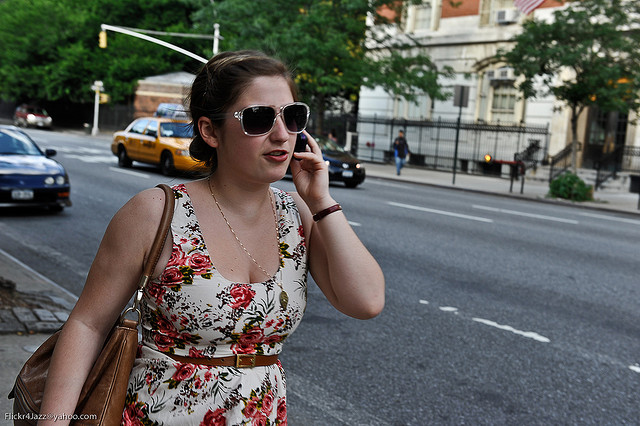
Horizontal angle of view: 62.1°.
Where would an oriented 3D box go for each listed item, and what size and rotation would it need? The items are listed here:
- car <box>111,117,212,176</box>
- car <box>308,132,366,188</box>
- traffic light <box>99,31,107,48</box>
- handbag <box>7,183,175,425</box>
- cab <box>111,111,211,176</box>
[{"bbox_3d":[-6.342,-2.693,21.751,5.289,1.898,2.183,13,7,39],"label":"car"},{"bbox_3d":[0.523,-2.098,21.018,1.301,1.141,2.922,2,5,-20],"label":"car"},{"bbox_3d":[-13.981,-11.222,34.320,0.303,0.922,0.979,-3,11,-27],"label":"traffic light"},{"bbox_3d":[-0.954,0.399,2.216,0.689,0.985,0.378,-1,10,-17],"label":"handbag"},{"bbox_3d":[-6.344,-2.728,21.760,5.818,2.090,2.453,12,7,40],"label":"cab"}]
